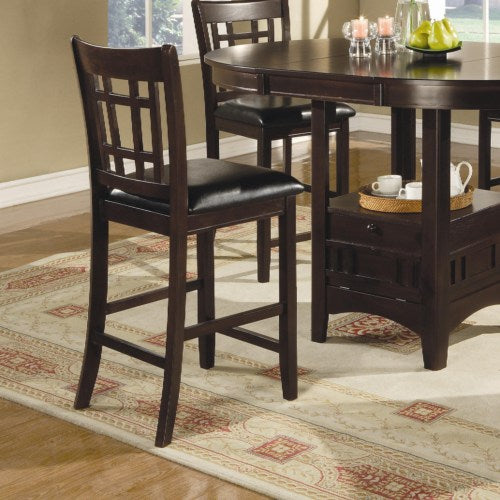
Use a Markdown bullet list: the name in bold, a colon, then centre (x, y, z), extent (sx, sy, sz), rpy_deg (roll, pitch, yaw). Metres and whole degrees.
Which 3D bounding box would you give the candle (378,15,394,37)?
- **candle**: centre (0.502, -0.809, 2.030), extent (0.081, 0.075, 0.077), rpy_deg (11, 25, 30)
